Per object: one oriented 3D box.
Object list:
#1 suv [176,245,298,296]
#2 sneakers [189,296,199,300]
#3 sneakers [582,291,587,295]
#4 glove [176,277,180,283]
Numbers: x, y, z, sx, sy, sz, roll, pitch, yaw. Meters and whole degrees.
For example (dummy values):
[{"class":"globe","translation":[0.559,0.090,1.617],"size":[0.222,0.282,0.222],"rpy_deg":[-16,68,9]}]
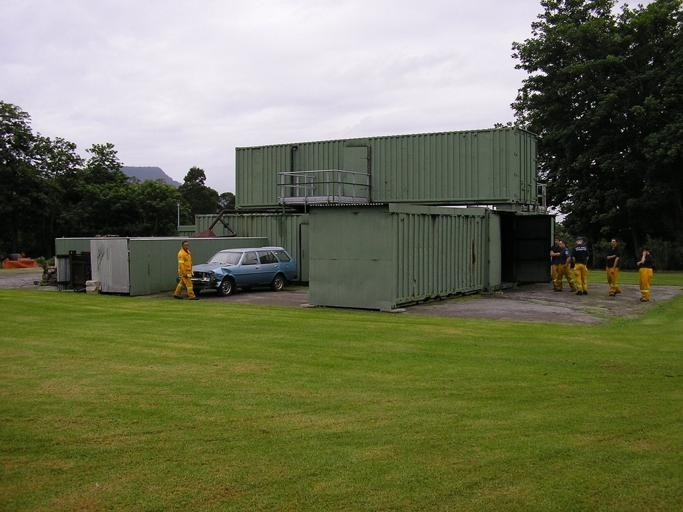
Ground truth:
[{"class":"suv","translation":[-3.843,0.555,23.054],"size":[1.706,1.372,3.388],"rpy_deg":[-3,-4,37]},{"class":"sneakers","translation":[-5.016,1.417,20.719],"size":[0.314,0.131,0.106],"rpy_deg":[-7,0,34]},{"class":"sneakers","translation":[8.817,1.317,22.100],"size":[0.093,0.121,0.166],"rpy_deg":[1,0,41]},{"class":"glove","translation":[-6.059,0.860,22.597],"size":[0.070,0.242,0.230],"rpy_deg":[14,-7,-32]}]
